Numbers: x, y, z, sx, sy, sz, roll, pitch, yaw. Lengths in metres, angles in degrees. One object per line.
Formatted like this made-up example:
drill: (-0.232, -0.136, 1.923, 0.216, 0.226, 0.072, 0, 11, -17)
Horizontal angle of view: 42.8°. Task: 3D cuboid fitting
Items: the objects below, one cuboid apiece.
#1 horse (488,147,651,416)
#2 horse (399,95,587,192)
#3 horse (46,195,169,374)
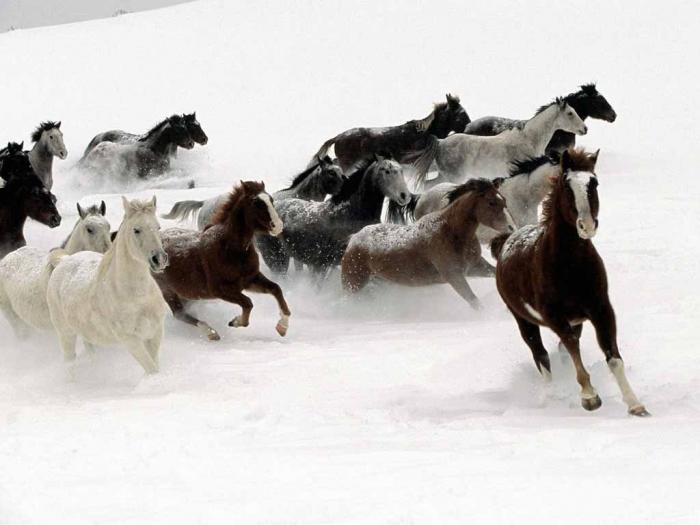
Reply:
horse: (2.050, 0.124, 8.402, 0.645, 2.384, 1.687, -7, 12, -22)
horse: (2.397, -1.690, 15.235, 2.946, 2.202, 0.717, 2, 13, 24)
horse: (-2.461, 0.219, 9.347, 1.758, 1.889, 0.539, 7, 14, 39)
